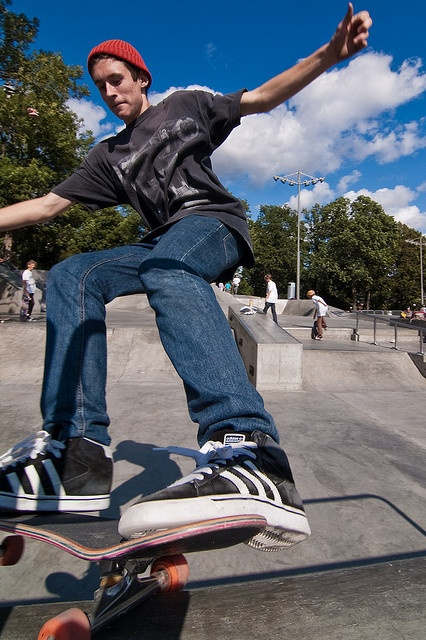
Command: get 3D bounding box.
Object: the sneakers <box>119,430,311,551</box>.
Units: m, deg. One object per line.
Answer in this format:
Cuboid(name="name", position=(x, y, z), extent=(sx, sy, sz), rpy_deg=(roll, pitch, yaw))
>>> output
Cuboid(name="sneakers", position=(-0.008, 0.415, 1.030), extent=(0.471, 0.238, 0.215), rpy_deg=(16, -48, -34))
